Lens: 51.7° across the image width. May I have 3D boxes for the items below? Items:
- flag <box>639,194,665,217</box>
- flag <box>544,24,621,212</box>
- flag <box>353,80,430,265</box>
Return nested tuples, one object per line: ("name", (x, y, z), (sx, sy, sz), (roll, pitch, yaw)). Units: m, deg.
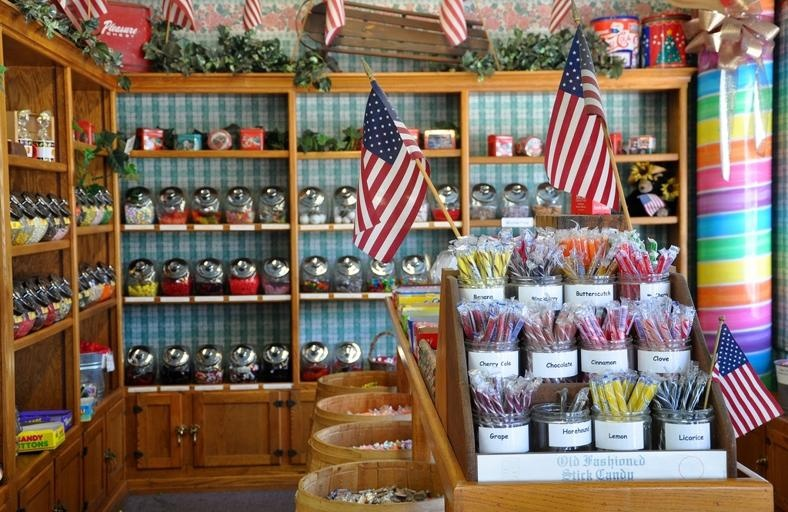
("flag", (2.087, -0.421, 6.673), (0.217, 0.195, 0.063), (-5, -1, -20))
("flag", (0.924, -0.714, 4.241), (0.347, 0.975, 0.282), (-5, -1, 14))
("flag", (-0.029, -0.464, 4.429), (0.557, 0.958, 0.258), (-5, -1, 42))
